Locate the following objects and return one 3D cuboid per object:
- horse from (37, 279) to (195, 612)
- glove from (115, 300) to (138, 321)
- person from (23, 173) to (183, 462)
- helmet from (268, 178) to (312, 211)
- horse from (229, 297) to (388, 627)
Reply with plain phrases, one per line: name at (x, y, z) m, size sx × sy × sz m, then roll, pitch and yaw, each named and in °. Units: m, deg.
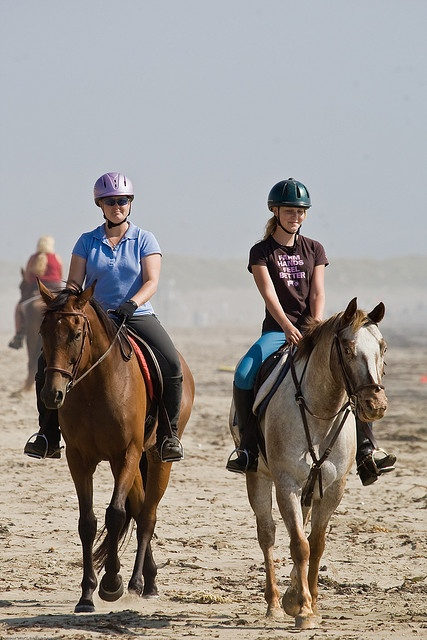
horse at (-0.733, 0.980, 8.731) m, size 0.830 × 2.405 × 2.828 m, roll -1°, pitch -4°, yaw 10°
glove at (-0.665, -0.061, 8.765) m, size 0.168 × 0.120 × 0.079 m, roll -44°, pitch 4°, yaw -22°
person at (-0.746, -0.036, 9.042) m, size 1.126 × 2.253 × 1.328 m, roll 2°, pitch -6°, yaw 10°
helmet at (0.574, -0.945, 9.110) m, size 0.258 × 0.200 × 0.263 m, roll 3°, pitch 0°, yaw -21°
horse at (0.727, 0.991, 8.135) m, size 0.671 × 2.400 × 1.677 m, roll 0°, pitch 8°, yaw -13°
